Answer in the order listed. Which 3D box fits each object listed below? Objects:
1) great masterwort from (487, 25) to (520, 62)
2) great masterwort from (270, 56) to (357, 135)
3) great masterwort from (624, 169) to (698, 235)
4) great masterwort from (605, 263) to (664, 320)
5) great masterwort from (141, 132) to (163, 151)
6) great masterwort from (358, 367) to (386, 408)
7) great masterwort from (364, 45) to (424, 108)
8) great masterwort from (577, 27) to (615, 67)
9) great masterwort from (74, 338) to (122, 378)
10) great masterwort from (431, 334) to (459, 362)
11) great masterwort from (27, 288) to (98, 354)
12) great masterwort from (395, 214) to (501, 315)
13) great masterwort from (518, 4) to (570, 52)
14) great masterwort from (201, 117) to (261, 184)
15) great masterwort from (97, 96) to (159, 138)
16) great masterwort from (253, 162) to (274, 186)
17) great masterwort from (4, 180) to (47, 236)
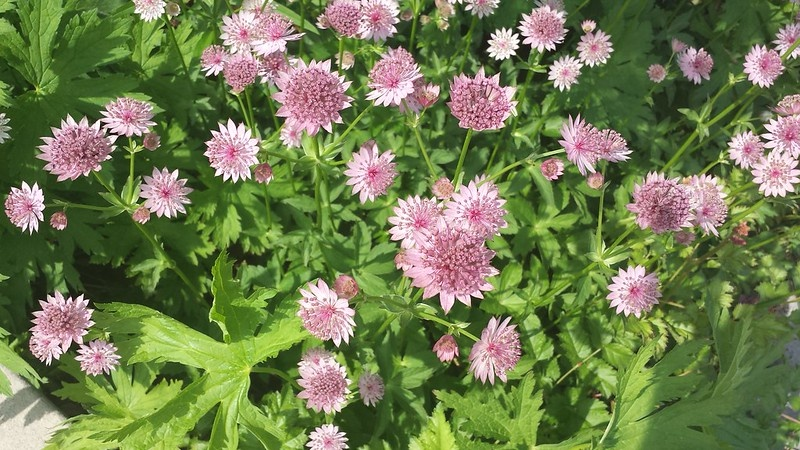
[{"bbox_3d":[1.124,-2.022,8.041,0.309,0.363,0.441,8,72,-1],"label":"great masterwort"},{"bbox_3d":[-0.834,-1.215,6.953,0.673,0.294,0.737,3,96,7],"label":"great masterwort"},{"bbox_3d":[2.615,-0.204,7.274,0.568,0.280,0.615,7,104,19],"label":"great masterwort"},{"bbox_3d":[2.403,0.684,7.453,0.529,0.193,0.560,29,91,2],"label":"great masterwort"},{"bbox_3d":[-2.593,-0.865,7.616,0.202,0.089,0.210,27,100,-1],"label":"great masterwort"},{"bbox_3d":[-0.293,1.697,7.591,0.270,0.128,0.331,1,73,-4],"label":"great masterwort"},{"bbox_3d":[-0.049,-1.415,7.031,0.528,0.315,0.580,-13,88,10],"label":"great masterwort"},{"bbox_3d":[2.158,-1.961,8.108,0.351,0.259,0.334,-15,75,-9],"label":"great masterwort"},{"bbox_3d":[-3.061,1.354,7.401,0.405,0.165,0.443,3,95,5],"label":"great masterwort"},{"bbox_3d":[0.454,1.185,7.096,0.269,0.122,0.296,16,75,3],"label":"great masterwort"},{"bbox_3d":[-3.336,0.932,7.267,0.575,0.180,0.624,27,89,5],"label":"great masterwort"},{"bbox_3d":[0.473,0.398,6.921,0.887,0.371,0.762,31,73,5],"label":"great masterwort"},{"bbox_3d":[1.532,-2.095,7.855,0.484,0.351,0.541,22,73,3],"label":"great masterwort"},{"bbox_3d":[-1.667,-0.673,7.470,0.521,0.751,0.550,-26,76,-11],"label":"great masterwort"},{"bbox_3d":[-2.711,-1.078,7.194,0.437,0.171,0.499,5,86,3],"label":"great masterwort"},{"bbox_3d":[-1.426,-0.553,7.455,0.209,0.224,0.080,-30,38,8],"label":"great masterwort"},{"bbox_3d":[-3.687,-0.202,7.280,0.501,0.185,0.567,-2,95,10],"label":"great masterwort"}]
